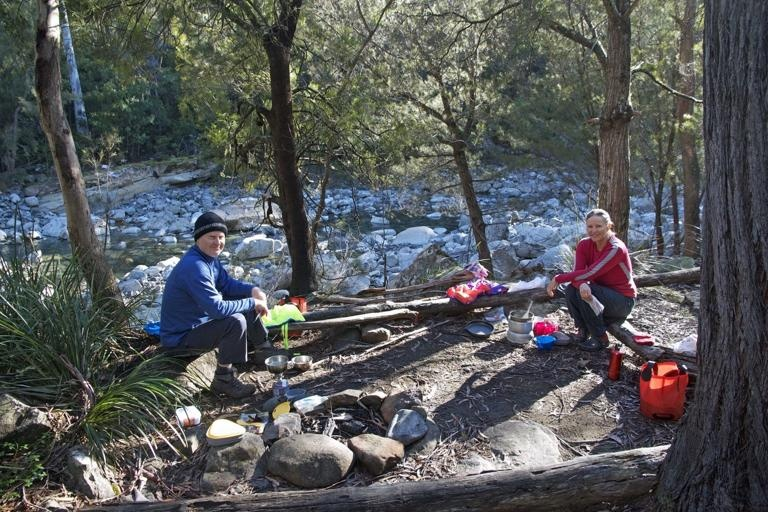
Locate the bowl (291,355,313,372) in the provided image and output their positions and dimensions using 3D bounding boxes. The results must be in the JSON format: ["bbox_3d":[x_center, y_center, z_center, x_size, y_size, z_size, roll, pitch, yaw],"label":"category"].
[{"bbox_3d":[-0.957,1.203,7.148,0.249,0.119,0.206,-13,7,-4],"label":"bowl"}]

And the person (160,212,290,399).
[{"bbox_3d":[-1.790,0.464,6.880,1.354,1.779,1.126,-1,13,-9],"label":"person"}]

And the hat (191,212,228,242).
[{"bbox_3d":[-1.859,-0.297,6.681,0.321,0.284,0.324,5,2,20],"label":"hat"}]

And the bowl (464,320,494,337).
[{"bbox_3d":[1.190,0.899,7.804,0.344,0.175,0.318,-12,7,2],"label":"bowl"}]

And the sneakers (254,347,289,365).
[{"bbox_3d":[-1.312,1.111,7.211,0.385,0.167,0.195,-14,12,-19],"label":"sneakers"}]

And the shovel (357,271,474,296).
[{"bbox_3d":[0.466,0.432,8.923,1.570,0.151,0.421,-11,7,7],"label":"shovel"}]

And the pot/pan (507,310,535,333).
[{"bbox_3d":[1.650,0.787,7.678,0.257,0.249,0.259,1,8,5],"label":"pot/pan"}]

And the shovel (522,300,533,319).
[{"bbox_3d":[1.807,0.674,7.997,0.059,0.034,0.227,10,54,34],"label":"shovel"}]

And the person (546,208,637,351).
[{"bbox_3d":[2.449,0.274,7.326,0.872,1.605,0.464,-10,8,13],"label":"person"}]

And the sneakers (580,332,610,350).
[{"bbox_3d":[2.442,0.994,7.419,0.413,0.193,0.167,1,1,-2],"label":"sneakers"}]

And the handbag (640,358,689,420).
[{"bbox_3d":[2.709,1.297,6.363,0.427,0.541,0.571,3,16,13],"label":"handbag"}]
